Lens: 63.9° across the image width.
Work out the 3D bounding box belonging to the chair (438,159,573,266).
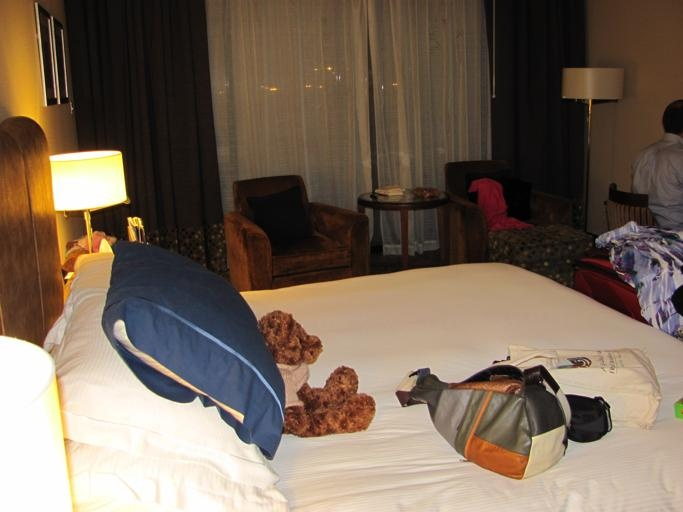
[{"bbox_3d":[1.286,-0.432,4.854,0.822,1.353,1.024,-6,16,-14],"label":"chair"}]

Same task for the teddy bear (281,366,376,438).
[{"bbox_3d":[-0.041,0.488,1.817,0.295,0.170,0.163,-7,14,-2],"label":"teddy bear"}]

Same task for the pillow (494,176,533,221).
[{"bbox_3d":[1.540,-0.498,4.809,0.297,0.360,0.131,-1,3,21],"label":"pillow"}]

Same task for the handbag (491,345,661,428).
[{"bbox_3d":[0.801,0.437,1.803,0.339,0.142,0.295,4,41,3],"label":"handbag"}]

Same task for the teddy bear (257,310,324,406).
[{"bbox_3d":[-0.183,0.313,1.987,0.247,0.371,0.276,-6,10,-30],"label":"teddy bear"}]

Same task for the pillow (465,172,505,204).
[{"bbox_3d":[1.296,-0.610,4.966,0.252,0.403,0.307,-3,7,-6],"label":"pillow"}]

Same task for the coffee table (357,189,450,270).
[{"bbox_3d":[0.545,-0.363,4.769,0.685,0.604,0.734,-7,22,-13],"label":"coffee table"}]

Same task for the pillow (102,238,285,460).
[{"bbox_3d":[-0.447,0.295,1.654,0.200,0.425,0.666,-32,28,-23],"label":"pillow"}]

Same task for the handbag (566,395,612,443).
[{"bbox_3d":[0.762,0.507,1.686,0.139,0.104,0.109,-7,14,-18],"label":"handbag"}]

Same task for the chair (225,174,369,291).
[{"bbox_3d":[-0.374,-0.186,4.282,0.930,1.024,0.934,-4,10,-22],"label":"chair"}]
